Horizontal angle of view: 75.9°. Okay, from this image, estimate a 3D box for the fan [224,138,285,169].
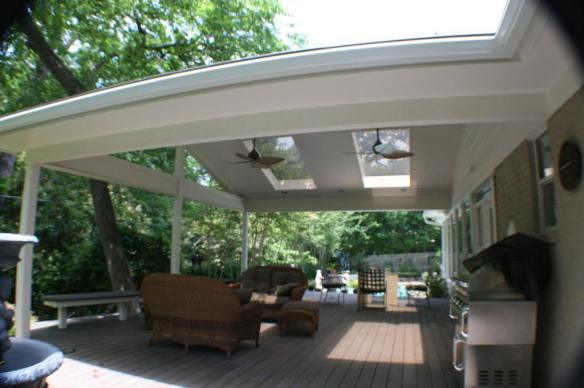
[{"bbox_3d":[-0.719,-0.915,8.518,1.062,0.439,1.056,4,-14,-8],"label":"fan"}]

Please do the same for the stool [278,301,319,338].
[{"bbox_3d":[0.186,2.491,7.514,0.825,0.613,1.135,1,0,14],"label":"stool"}]

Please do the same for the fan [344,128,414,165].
[{"bbox_3d":[1.662,-1.044,7.488,1.062,0.499,1.283,8,2,-16],"label":"fan"}]

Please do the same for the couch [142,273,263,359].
[{"bbox_3d":[-1.595,1.995,6.530,1.974,1.316,1.109,0,-2,25],"label":"couch"}]

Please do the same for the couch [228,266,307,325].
[{"bbox_3d":[-0.669,2.447,8.842,1.459,1.337,1.891,5,-2,22],"label":"couch"}]

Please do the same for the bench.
[{"bbox_3d":[-4.681,2.666,8.678,0.711,0.629,2.004,-2,-6,41],"label":"bench"}]

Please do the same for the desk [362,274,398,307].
[{"bbox_3d":[2.565,2.712,10.811,1.023,0.966,0.962,0,-3,22],"label":"desk"}]

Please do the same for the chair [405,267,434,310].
[{"bbox_3d":[3.930,2.792,11.363,0.807,1.179,0.906,0,-2,15],"label":"chair"}]
